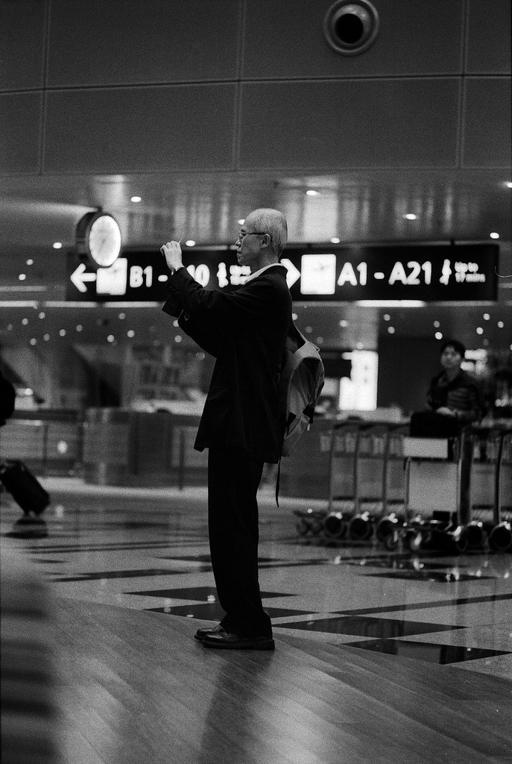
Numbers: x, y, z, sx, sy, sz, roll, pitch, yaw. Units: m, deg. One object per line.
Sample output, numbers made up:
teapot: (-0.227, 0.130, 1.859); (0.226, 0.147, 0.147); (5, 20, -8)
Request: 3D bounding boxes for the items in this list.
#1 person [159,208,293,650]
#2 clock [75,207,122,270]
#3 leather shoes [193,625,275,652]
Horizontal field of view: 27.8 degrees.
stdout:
person: (-0.082, 0.118, 3.047); (0.411, 1.319, 0.252); (2, -4, -17)
clock: (-1.023, -0.949, 6.715); (0.203, 0.371, 0.291); (-1, -4, 28)
leather shoes: (-0.065, 0.746, 2.992); (0.233, 0.060, 0.158); (1, -4, 4)
